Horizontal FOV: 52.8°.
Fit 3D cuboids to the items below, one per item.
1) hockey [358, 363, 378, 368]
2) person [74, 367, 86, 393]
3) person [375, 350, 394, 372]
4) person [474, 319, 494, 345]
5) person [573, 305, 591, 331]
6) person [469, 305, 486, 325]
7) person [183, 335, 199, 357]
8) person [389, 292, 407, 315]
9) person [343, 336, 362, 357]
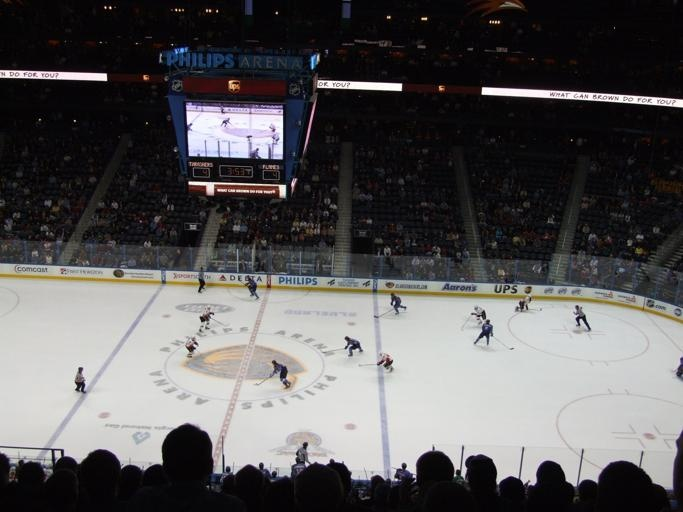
[{"bbox_3d":[1.213,5.038,31.865,0.945,0.170,0.179,1,0,22],"label":"hockey"},{"bbox_3d":[-11.056,5.204,29.238,0.523,1.155,1.546,10,-20,-19],"label":"person"},{"bbox_3d":[1.981,4.814,31.580,0.805,0.954,1.792,2,-19,4],"label":"person"},{"bbox_3d":[7.042,3.721,34.121,0.855,1.433,2.484,-1,-20,12],"label":"person"},{"bbox_3d":[12.720,3.321,36.642,0.674,0.300,1.162,19,-29,35],"label":"person"},{"bbox_3d":[7.136,3.127,36.391,0.337,0.485,0.843,42,-10,35],"label":"person"},{"bbox_3d":[-7.069,4.251,32.366,0.411,0.463,0.812,25,-55,11],"label":"person"},{"bbox_3d":[3.065,2.634,37.855,0.576,0.512,0.797,23,7,-21],"label":"person"},{"bbox_3d":[0.577,4.295,32.632,0.864,0.894,1.201,3,-19,2],"label":"person"}]
